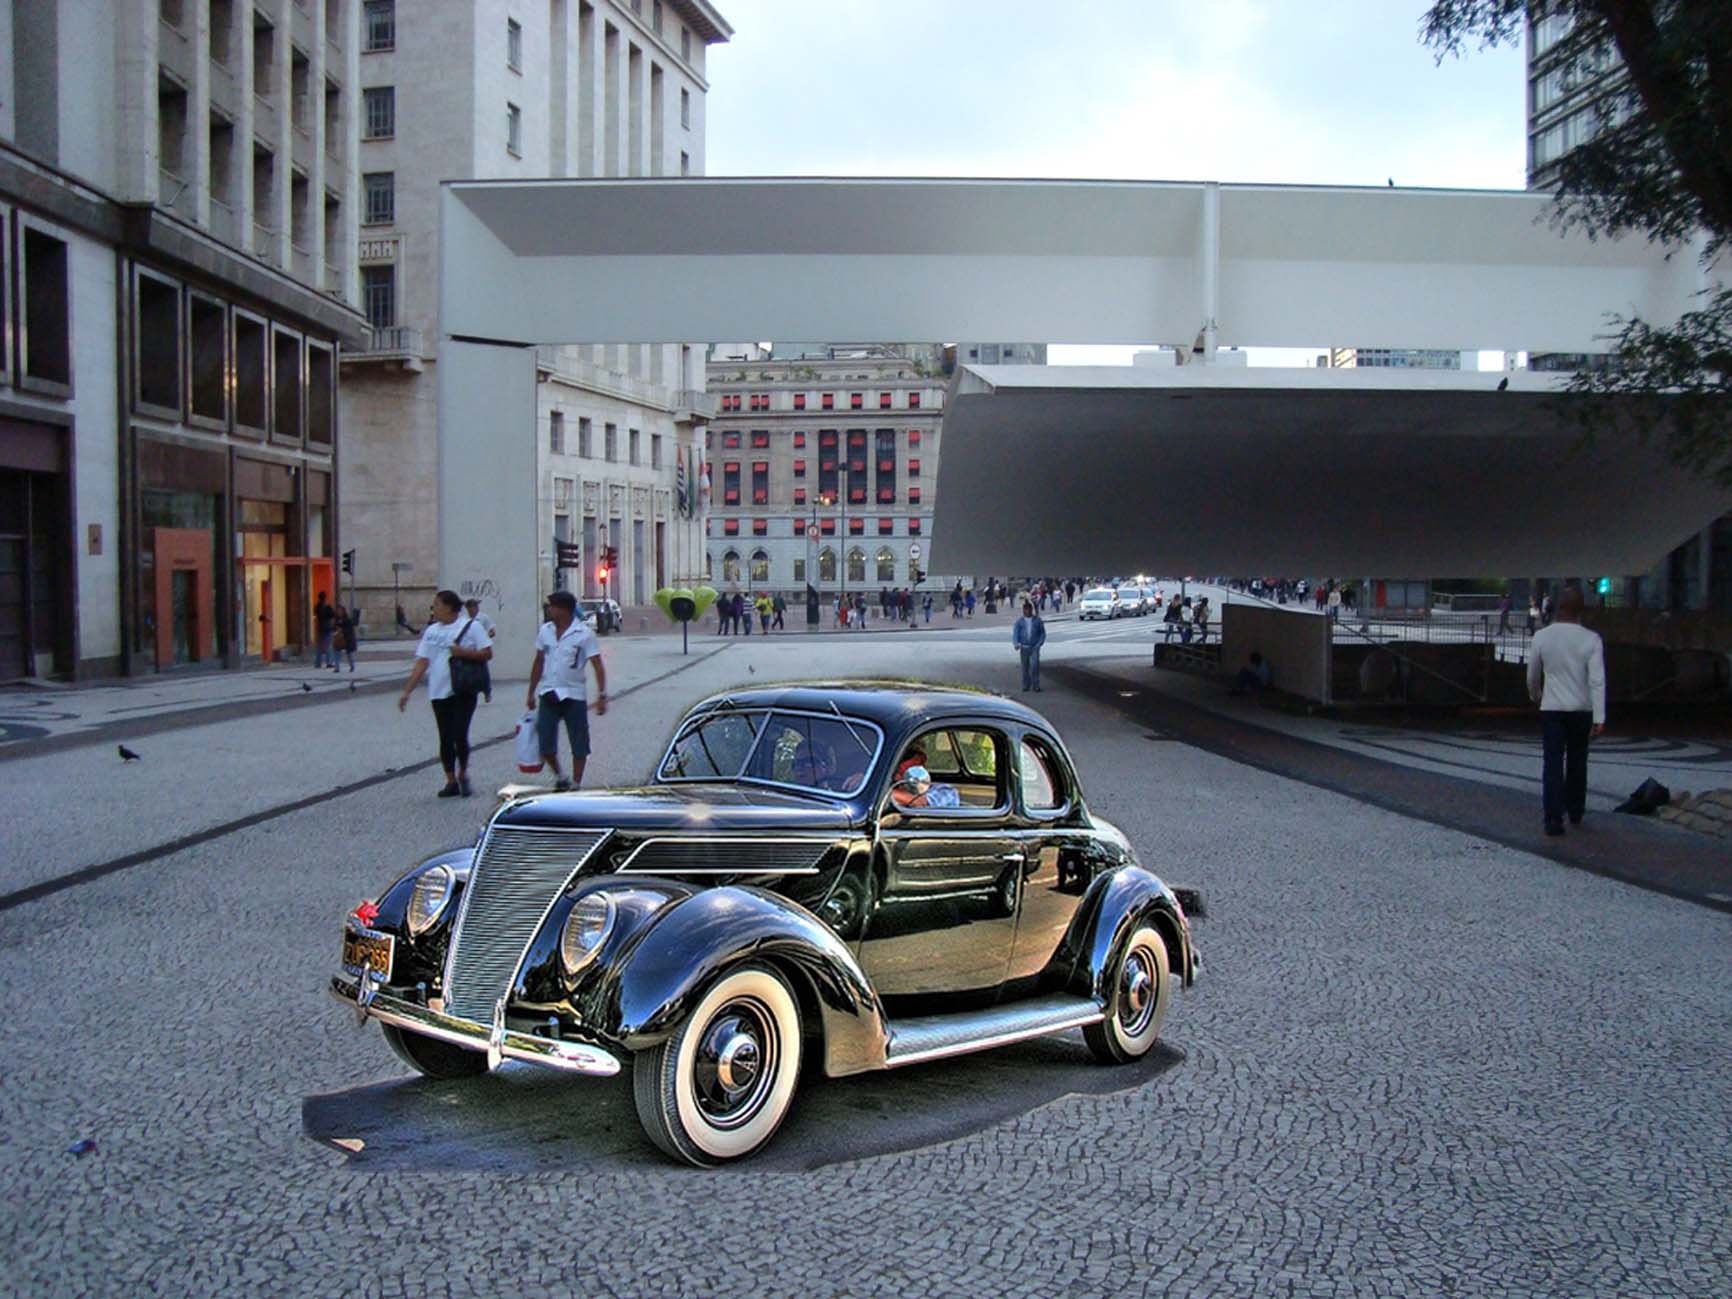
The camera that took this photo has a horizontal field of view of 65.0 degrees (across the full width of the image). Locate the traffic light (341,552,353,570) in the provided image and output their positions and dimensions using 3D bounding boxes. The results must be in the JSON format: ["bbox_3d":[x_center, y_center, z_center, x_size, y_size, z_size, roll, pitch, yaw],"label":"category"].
[{"bbox_3d":[-18.168,-3.275,47.905,0.178,0.561,1.279,-6,6,-30],"label":"traffic light"}]

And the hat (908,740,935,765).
[{"bbox_3d":[0.269,0.492,6.363,0.082,0.107,0.112,5,-40,0],"label":"hat"}]

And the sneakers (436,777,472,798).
[{"bbox_3d":[-4.378,1.489,14.474,0.375,0.182,0.145,5,4,41],"label":"sneakers"}]

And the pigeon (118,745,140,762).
[{"bbox_3d":[-9.279,1.335,17.151,0.176,0.075,0.107,30,-5,-33],"label":"pigeon"}]

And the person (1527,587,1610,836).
[{"bbox_3d":[6.629,0.579,12.889,0.596,2.414,1.273,0,6,28],"label":"person"}]
